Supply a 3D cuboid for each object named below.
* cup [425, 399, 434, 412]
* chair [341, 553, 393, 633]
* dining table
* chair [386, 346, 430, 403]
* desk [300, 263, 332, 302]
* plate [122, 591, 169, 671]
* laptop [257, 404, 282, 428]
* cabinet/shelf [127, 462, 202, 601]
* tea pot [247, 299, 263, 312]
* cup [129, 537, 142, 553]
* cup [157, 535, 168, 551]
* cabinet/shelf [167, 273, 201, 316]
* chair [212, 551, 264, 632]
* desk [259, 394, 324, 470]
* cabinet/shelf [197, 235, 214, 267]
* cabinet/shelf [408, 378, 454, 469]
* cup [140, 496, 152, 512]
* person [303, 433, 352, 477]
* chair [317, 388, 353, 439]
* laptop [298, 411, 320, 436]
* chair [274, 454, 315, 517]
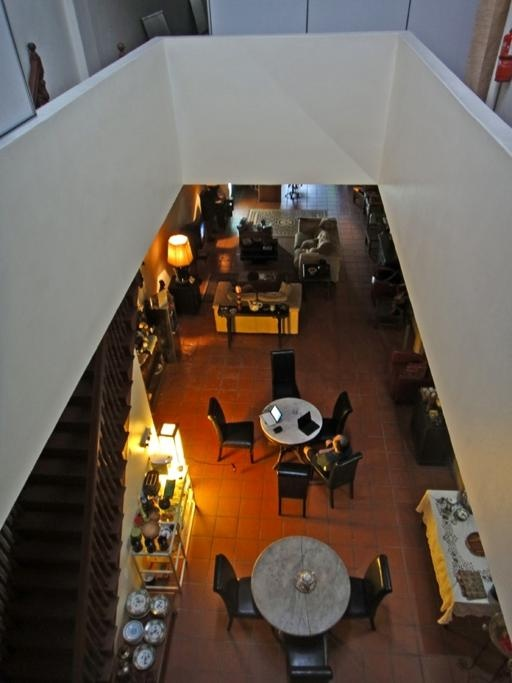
[{"bbox_3d":[2.486,0.937,6.958,0.111,0.113,0.108,-4,39,3],"label":"cup"},{"bbox_3d":[1.231,2.816,5.402,0.498,0.801,0.479,4,56,-1],"label":"chair"},{"bbox_3d":[2.281,2.521,5.648,0.530,0.982,1.346,-1,40,7],"label":"dining table"},{"bbox_3d":[2.541,0.295,8.188,0.622,1.267,0.983,1,61,10],"label":"chair"},{"bbox_3d":[1.398,-1.409,11.029,0.728,0.794,0.631,-1,39,6],"label":"desk"},{"bbox_3d":[-1.155,3.031,5.080,0.303,0.154,0.656,5,47,-4],"label":"plate"},{"bbox_3d":[0.212,1.059,7.136,0.199,0.273,0.380,-21,20,22],"label":"laptop"},{"bbox_3d":[-1.081,2.226,5.641,0.485,1.018,1.665,-4,50,3],"label":"cabinet/shelf"},{"bbox_3d":[-0.015,-0.691,9.474,0.280,0.198,0.224,-4,40,3],"label":"tea pot"},{"bbox_3d":[-1.272,2.144,5.155,0.104,0.182,0.116,14,59,10],"label":"cup"},{"bbox_3d":[-0.985,2.147,5.211,0.091,0.175,0.179,0,43,0],"label":"cup"},{"bbox_3d":[-1.460,-1.001,10.757,0.663,1.042,0.738,4,46,3],"label":"cabinet/shelf"},{"bbox_3d":[-0.198,2.831,5.471,0.497,0.800,0.455,-8,54,7],"label":"chair"},{"bbox_3d":[0.468,1.276,7.276,0.862,0.805,0.915,-38,61,-26],"label":"desk"},{"bbox_3d":[-1.329,-2.329,12.820,0.299,0.279,1.140,1,47,0],"label":"cabinet/shelf"},{"bbox_3d":[2.619,1.201,7.192,0.505,1.053,0.747,-1,39,6],"label":"cabinet/shelf"},{"bbox_3d":[-1.182,1.783,5.386,0.089,0.162,0.168,-3,54,1],"label":"cup"},{"bbox_3d":[0.961,1.532,6.548,0.303,0.714,0.403,-27,64,-5],"label":"person"},{"bbox_3d":[1.206,1.132,7.224,0.593,0.925,0.558,1,56,-1],"label":"chair"},{"bbox_3d":[0.751,1.200,6.948,0.293,0.120,0.319,-26,45,-20],"label":"laptop"},{"bbox_3d":[0.528,1.987,6.602,0.501,1.048,0.578,1,47,4],"label":"chair"}]
